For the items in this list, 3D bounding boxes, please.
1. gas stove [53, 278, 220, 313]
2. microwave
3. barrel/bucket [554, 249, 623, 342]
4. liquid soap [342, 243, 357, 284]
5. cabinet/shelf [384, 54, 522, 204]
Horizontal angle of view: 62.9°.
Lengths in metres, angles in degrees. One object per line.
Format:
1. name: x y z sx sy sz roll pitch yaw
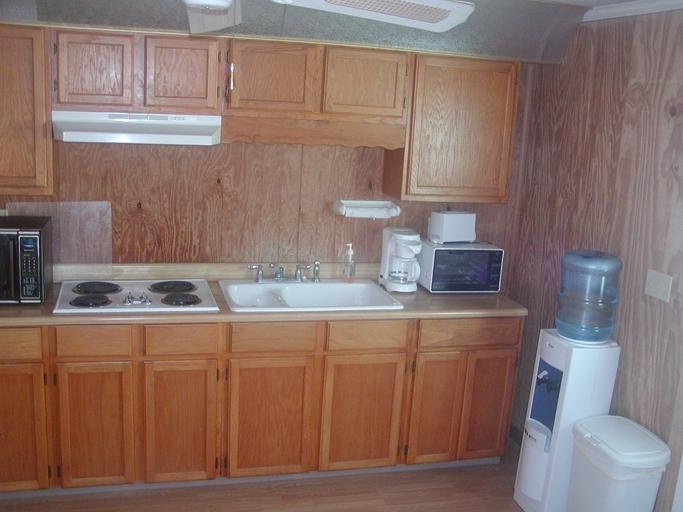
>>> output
1. gas stove: -1.200 0.233 3.288 0.876 0.117 0.624 -3 9 -17
2. microwave: 0.795 0.086 3.649 0.531 0.312 0.356 -1 12 -13
3. barrel/bucket: 1.354 0.223 3.071 0.293 0.491 0.150 2 10 9
4. liquid soap: 0.056 0.043 3.776 0.083 0.248 0.183 0 10 1
5. cabinet/shelf: 0.683 -0.822 3.473 0.939 0.981 0.536 0 11 -13
